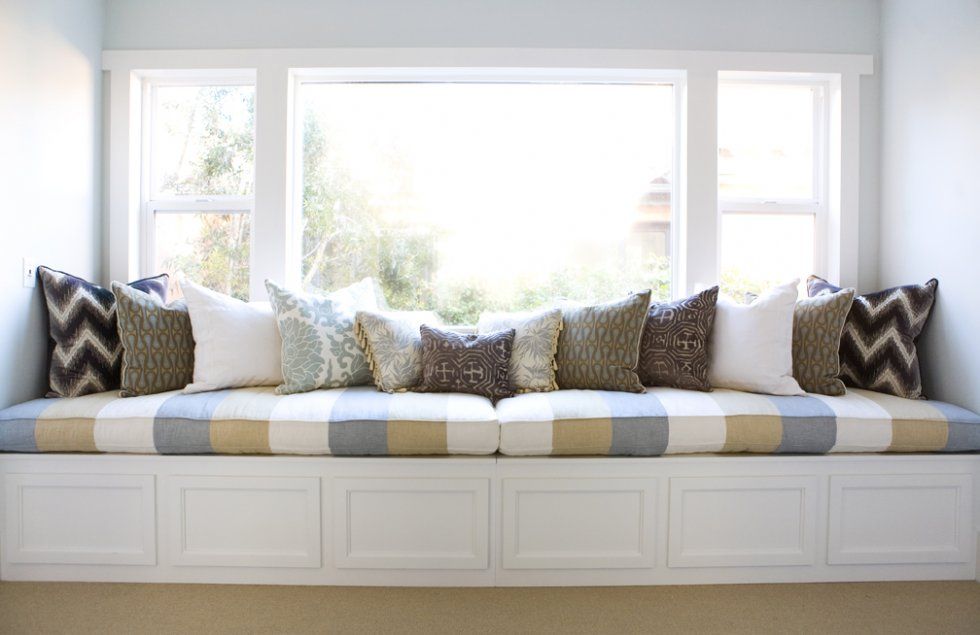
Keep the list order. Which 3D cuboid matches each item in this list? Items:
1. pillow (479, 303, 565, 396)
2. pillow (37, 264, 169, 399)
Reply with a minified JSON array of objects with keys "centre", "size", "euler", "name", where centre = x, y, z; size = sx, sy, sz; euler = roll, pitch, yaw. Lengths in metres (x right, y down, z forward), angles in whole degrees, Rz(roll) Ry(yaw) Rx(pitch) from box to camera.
[{"centre":[0.232,0.214,5.181],"size":[0.474,0.470,0.220],"euler":[1,-4,2],"name":"pillow"},{"centre":[-2.161,0.116,5.081],"size":[0.749,0.706,0.268],"euler":[-3,0,-36],"name":"pillow"}]
